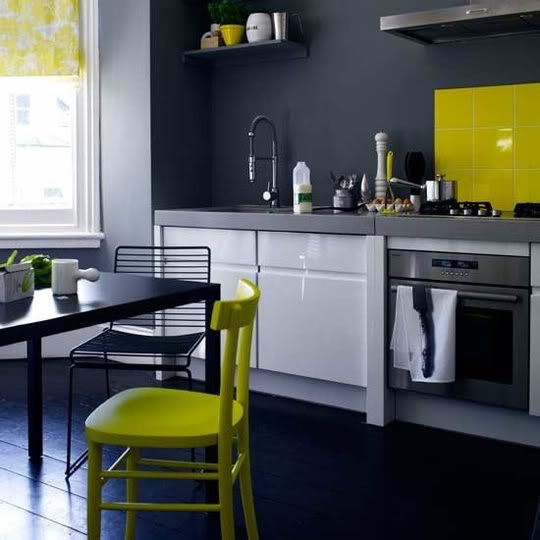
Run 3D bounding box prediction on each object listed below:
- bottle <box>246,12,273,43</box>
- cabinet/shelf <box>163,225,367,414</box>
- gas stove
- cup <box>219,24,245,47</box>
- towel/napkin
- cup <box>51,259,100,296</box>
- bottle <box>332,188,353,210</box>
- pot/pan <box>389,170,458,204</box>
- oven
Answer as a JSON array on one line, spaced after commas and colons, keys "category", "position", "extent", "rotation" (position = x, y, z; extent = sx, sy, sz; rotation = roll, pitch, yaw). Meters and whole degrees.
[{"category": "bottle", "position": [-0.066, -1.464, 3.245], "extent": [0.162, 0.194, 0.177], "rotation": [6, 16, 25]}, {"category": "cabinet/shelf", "position": [0.019, 0.079, 3.006], "extent": [1.165, 0.969, 0.697], "rotation": [4, 11, 19]}, {"category": "gas stove", "position": [0.909, -0.294, 2.538], "extent": [0.718, 0.095, 0.466], "rotation": [3, 5, 29]}, {"category": "cup", "position": [-0.236, -1.469, 3.264], "extent": [0.140, 0.126, 0.159], "rotation": [-1, 8, 6]}, {"category": "towel/napkin", "position": [0.665, 0.265, 2.228], "extent": [0.361, 0.528, 0.073], "rotation": [1, 1, 44]}, {"category": "cup", "position": [-0.557, 0.029, 1.506], "extent": [0.119, 0.115, 0.073], "rotation": [1, -1, 5]}, {"category": "bottle", "position": [0.390, -0.388, 2.863], "extent": [0.089, 0.106, 0.100], "rotation": [-1, 1, 14]}, {"category": "pot/pan", "position": [0.772, -0.408, 2.709], "extent": [0.360, 0.203, 0.158], "rotation": [2, 1, 14]}, {"category": "oven", "position": [0.849, 0.221, 2.464], "extent": [0.711, 0.848, 0.507], "rotation": [0, -2, 36]}]
